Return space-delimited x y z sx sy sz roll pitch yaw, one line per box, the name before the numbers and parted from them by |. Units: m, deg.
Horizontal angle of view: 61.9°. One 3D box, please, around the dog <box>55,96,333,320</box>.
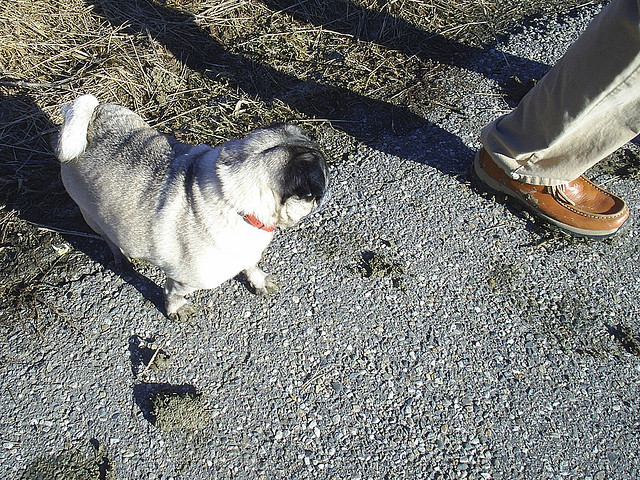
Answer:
dog | -0.876 -0.165 3.691 1.757 1.214 1.042 15 65 4
